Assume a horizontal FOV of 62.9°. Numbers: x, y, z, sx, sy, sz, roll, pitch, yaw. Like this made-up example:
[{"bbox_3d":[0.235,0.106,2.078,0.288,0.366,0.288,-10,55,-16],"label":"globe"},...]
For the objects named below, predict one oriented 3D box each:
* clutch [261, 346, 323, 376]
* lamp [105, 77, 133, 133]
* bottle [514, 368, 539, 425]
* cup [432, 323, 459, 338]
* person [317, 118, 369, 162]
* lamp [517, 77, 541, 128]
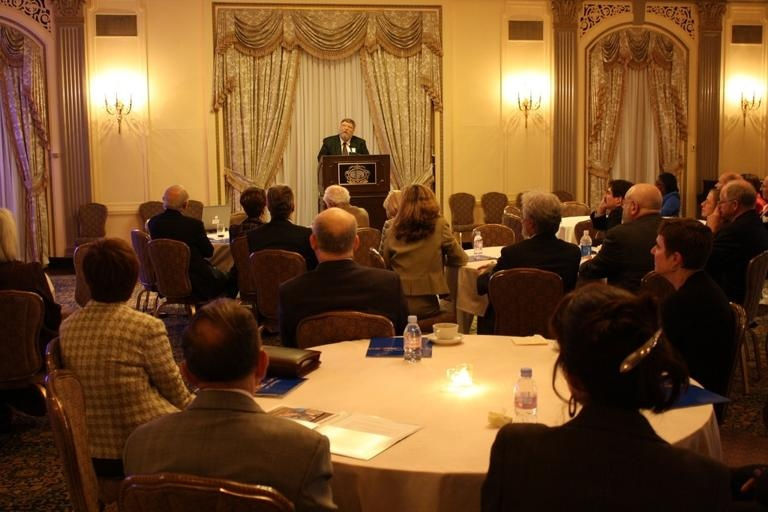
[{"bbox_3d":[-0.440,0.518,3.094,0.231,0.092,0.199,3,5,23],"label":"clutch"},{"bbox_3d":[-4.144,-2.297,9.923,0.207,0.591,0.327,9,9,29],"label":"lamp"},{"bbox_3d":[0.611,0.579,2.698,0.108,0.208,0.296,2,7,12],"label":"bottle"},{"bbox_3d":[0.352,0.415,3.515,0.098,0.046,0.083,-5,4,-14],"label":"cup"},{"bbox_3d":[-0.694,-1.817,9.641,0.770,0.585,0.900,-4,8,-35],"label":"person"},{"bbox_3d":[2.431,-2.540,10.768,0.351,0.668,0.227,1,3,22],"label":"lamp"}]
